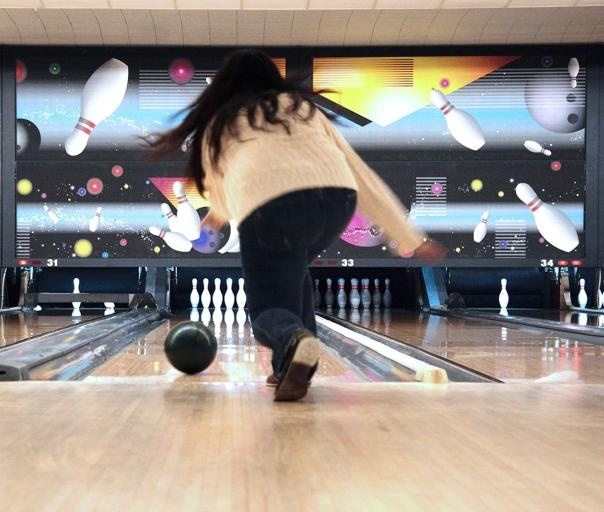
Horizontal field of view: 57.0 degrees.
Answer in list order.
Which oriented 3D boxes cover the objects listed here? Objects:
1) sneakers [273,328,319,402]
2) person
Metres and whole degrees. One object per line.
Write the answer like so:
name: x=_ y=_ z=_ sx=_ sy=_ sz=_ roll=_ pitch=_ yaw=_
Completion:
sneakers: x=-0.028 y=0.261 z=1.292 sx=0.069 sy=0.205 sz=0.087 roll=13 pitch=12 yaw=-10
person: x=-0.044 y=-0.129 z=1.642 sx=0.612 sy=0.952 sz=0.572 roll=0 pitch=-1 yaw=41
